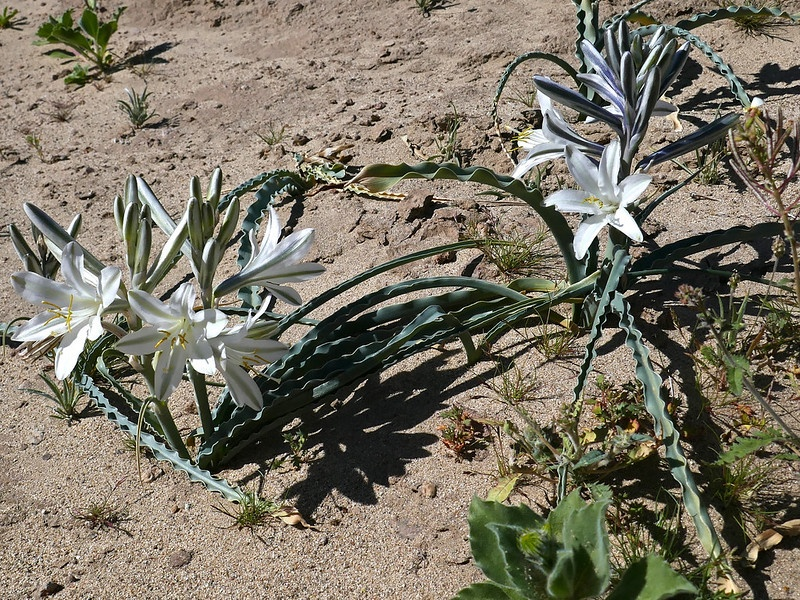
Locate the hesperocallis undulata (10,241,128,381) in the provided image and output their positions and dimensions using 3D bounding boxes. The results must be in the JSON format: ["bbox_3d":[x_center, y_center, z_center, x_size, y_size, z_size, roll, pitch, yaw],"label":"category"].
[{"bbox_3d":[-1.161,0.023,3.553,0.394,0.471,0.218,-38,-16,32],"label":"hesperocallis undulata"}]

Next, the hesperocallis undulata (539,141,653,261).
[{"bbox_3d":[0.731,-0.371,3.723,0.371,0.362,0.349,-21,31,1],"label":"hesperocallis undulata"}]
